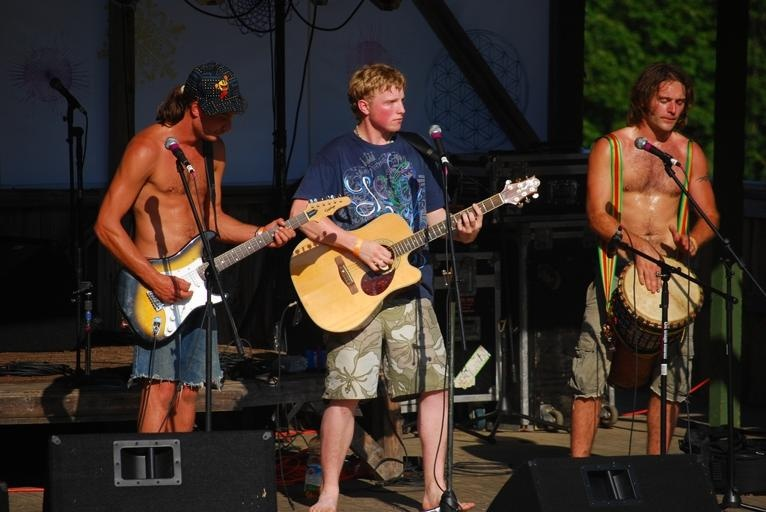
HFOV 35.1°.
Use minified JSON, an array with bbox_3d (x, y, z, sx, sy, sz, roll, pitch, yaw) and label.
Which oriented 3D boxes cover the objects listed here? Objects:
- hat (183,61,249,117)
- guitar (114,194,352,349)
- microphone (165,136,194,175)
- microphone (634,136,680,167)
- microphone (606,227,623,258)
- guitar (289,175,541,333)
[{"bbox_3d":[-1.275,-1.269,9.254,0.329,0.276,0.458,-7,22,-39],"label":"hat"},{"bbox_3d":[-1.226,0.136,9.913,1.431,0.524,0.161,-32,3,-17],"label":"guitar"},{"bbox_3d":[-1.522,-0.757,9.093,0.121,0.420,0.112,-30,-35,-9],"label":"microphone"},{"bbox_3d":[2.161,-0.813,9.613,0.079,0.320,0.091,-55,2,46],"label":"microphone"},{"bbox_3d":[1.847,-0.115,9.638,0.102,0.201,0.178,-1,-11,0],"label":"microphone"},{"bbox_3d":[0.236,-0.046,9.253,2.060,0.976,0.253,-23,-3,1],"label":"guitar"}]
